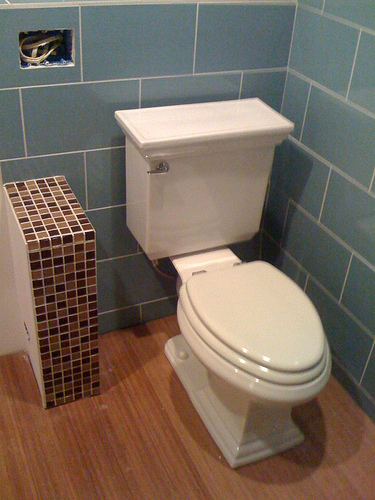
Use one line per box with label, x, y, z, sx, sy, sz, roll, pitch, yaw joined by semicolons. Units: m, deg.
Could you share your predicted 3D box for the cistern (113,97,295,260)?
cistern;0.027;-0.204;1.242;0.429;0.427;0.276;-12;40;-17
